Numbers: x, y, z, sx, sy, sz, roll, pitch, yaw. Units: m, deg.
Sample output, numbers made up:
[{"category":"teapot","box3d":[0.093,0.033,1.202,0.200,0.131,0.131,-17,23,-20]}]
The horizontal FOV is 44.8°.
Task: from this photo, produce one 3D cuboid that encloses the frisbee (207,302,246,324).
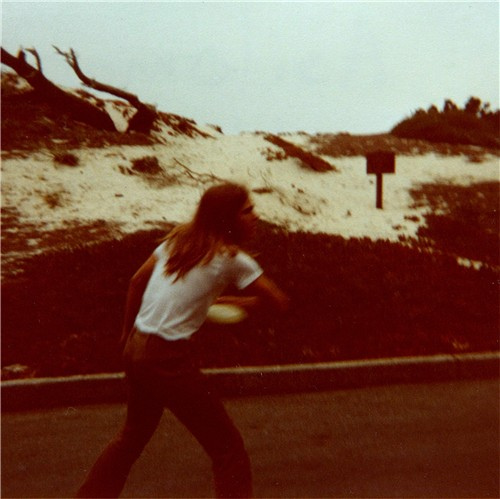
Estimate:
[{"category":"frisbee","box3d":[-0.130,0.336,3.221,0.155,0.142,0.026,1,55,2]}]
